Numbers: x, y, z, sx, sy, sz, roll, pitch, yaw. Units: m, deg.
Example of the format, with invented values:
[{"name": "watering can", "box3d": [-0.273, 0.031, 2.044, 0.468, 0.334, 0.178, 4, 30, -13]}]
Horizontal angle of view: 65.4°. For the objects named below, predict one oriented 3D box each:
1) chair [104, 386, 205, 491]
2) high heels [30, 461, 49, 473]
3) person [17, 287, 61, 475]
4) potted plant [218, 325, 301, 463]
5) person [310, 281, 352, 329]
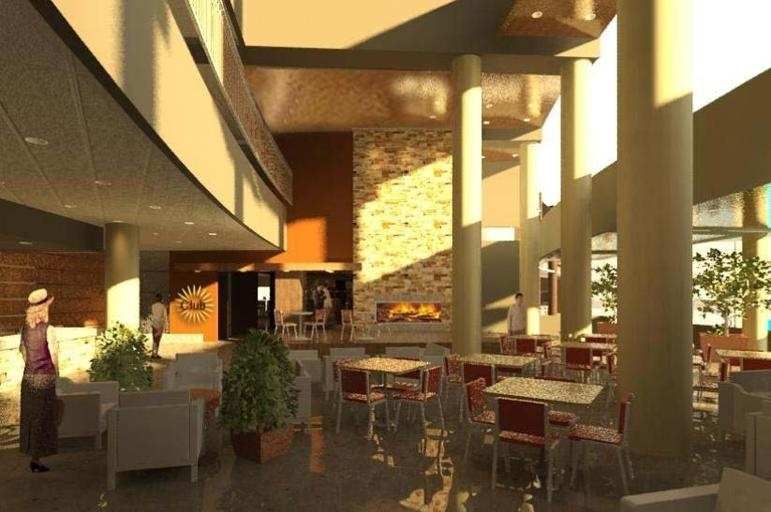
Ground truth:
[{"name": "chair", "box3d": [-2.956, 2.295, 7.910, 1.085, 1.134, 1.162, 0, -1, -9]}, {"name": "high heels", "box3d": [-4.481, 2.725, 7.726, 0.222, 0.118, 0.122, 1, -3, -13]}, {"name": "person", "box3d": [-4.547, 1.607, 7.830, 0.446, 2.317, 0.447, -2, 3, -32]}, {"name": "potted plant", "box3d": [-1.755, 1.974, 8.570, 1.013, 1.615, 1.214, -1, -24, 18]}, {"name": "person", "box3d": [-2.051, 1.749, 21.548, 0.845, 1.560, 1.613, -2, -3, 27]}]
